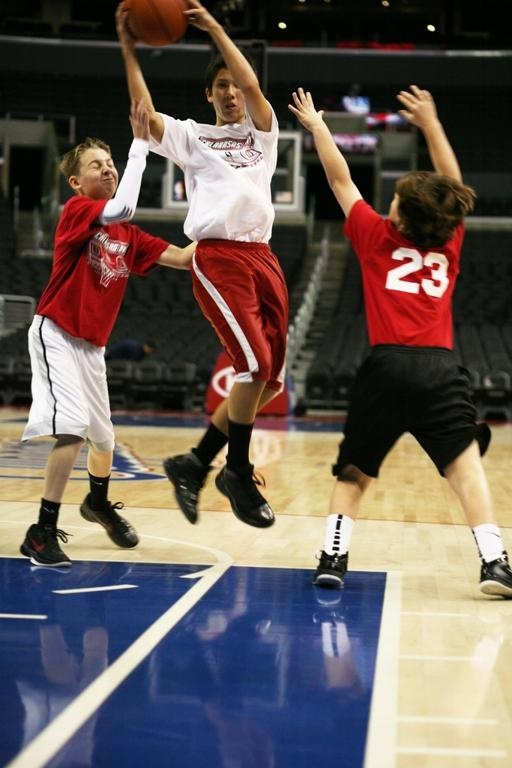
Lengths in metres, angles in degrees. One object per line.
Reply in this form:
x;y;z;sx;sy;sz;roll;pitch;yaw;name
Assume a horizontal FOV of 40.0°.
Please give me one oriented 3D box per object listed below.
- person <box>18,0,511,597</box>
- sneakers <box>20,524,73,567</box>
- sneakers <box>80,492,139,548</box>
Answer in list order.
0.002;-0.309;2.397;1.578;1.889;0.646;0;-3;16;person
-0.712;0.557;2.420;0.110;0.086;0.198;20;-13;-35;sneakers
-0.589;0.556;2.820;0.265;0.107;0.093;34;36;21;sneakers
